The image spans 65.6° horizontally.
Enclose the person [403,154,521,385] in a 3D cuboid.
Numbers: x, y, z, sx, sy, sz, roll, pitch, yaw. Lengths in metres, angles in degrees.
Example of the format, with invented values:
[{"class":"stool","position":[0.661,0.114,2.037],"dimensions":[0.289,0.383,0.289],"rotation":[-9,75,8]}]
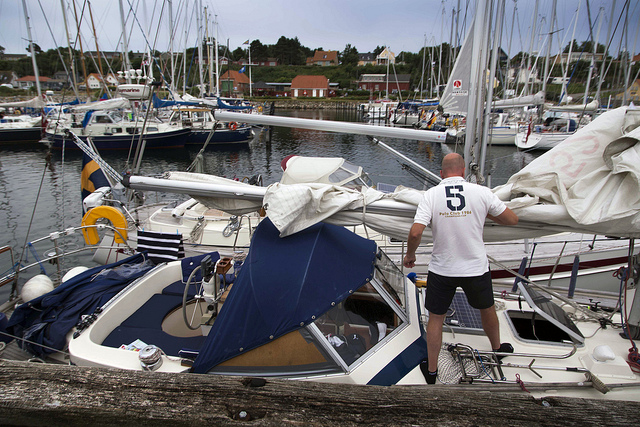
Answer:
[{"class":"person","position":[1.542,0.568,5.759],"dimensions":[1.138,2.359,0.896],"rotation":[-8,20,-21]}]

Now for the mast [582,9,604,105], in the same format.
[{"class":"mast","position":[11.519,-5.967,20.134],"dimensions":[0.734,4.449,0.759],"rotation":[2,14,37]}]

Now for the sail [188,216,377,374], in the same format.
[{"class":"sail","position":[-0.385,0.918,5.710],"dimensions":[2.002,1.398,0.671],"rotation":[-4,19,-11]}]

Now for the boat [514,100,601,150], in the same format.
[{"class":"boat","position":[12.770,-4.843,26.467],"dimensions":[5.159,2.058,1.831],"rotation":[-14,28,-22]}]
